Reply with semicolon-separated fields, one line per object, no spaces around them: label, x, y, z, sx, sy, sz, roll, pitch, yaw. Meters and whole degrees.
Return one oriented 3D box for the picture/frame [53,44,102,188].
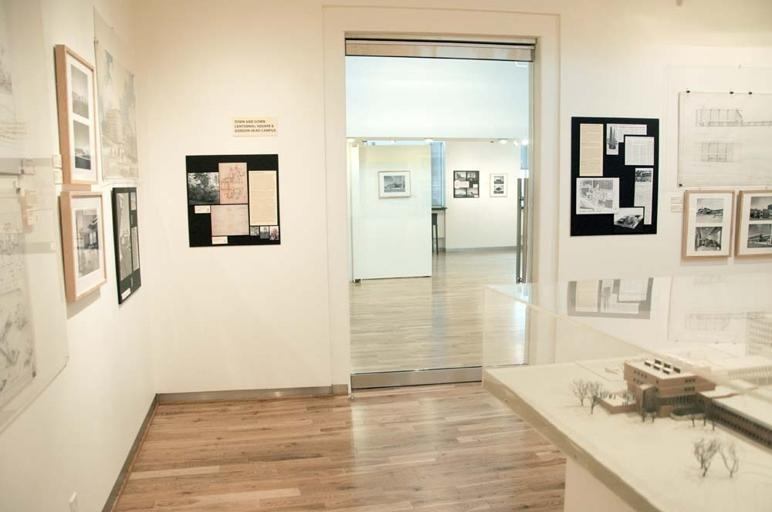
picture/frame;-1.756;-0.771;3.072;0.123;0.752;0.591;-5;14;-17

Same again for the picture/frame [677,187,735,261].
picture/frame;3.123;-0.335;5.302;0.741;0.939;0.072;-1;5;-8

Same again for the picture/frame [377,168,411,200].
picture/frame;0.057;-0.689;5.141;0.313;0.237;0.012;0;2;-12
